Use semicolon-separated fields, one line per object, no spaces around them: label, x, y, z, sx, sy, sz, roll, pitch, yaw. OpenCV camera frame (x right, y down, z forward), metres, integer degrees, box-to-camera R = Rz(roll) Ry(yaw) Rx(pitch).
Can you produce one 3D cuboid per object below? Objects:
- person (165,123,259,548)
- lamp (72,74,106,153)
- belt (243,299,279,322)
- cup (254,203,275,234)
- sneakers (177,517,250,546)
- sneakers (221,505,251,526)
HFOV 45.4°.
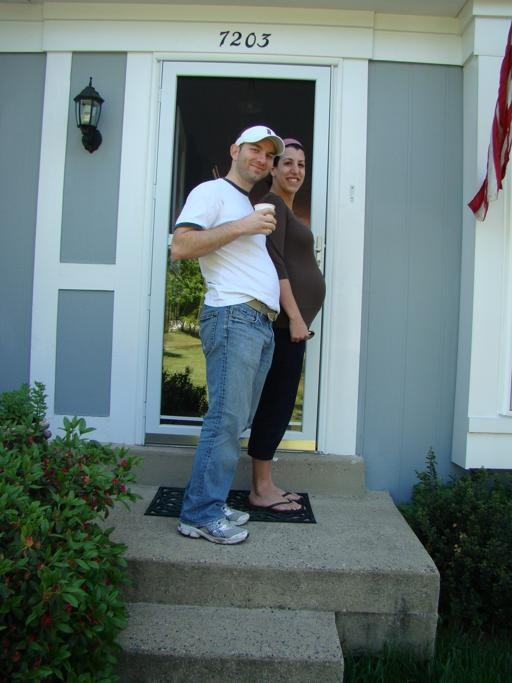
person;-0.121;-0.028;2.462;0.454;1.651;0.410;2;4;-9
lamp;-0.918;-1.253;3.354;0.158;0.415;0.206;1;4;-15
belt;0.032;-0.127;2.451;0.087;0.023;0.089;24;-4;39
cup;0.032;-0.467;2.363;0.076;0.116;0.152;2;4;0
sneakers;-0.165;0.739;2.455;0.264;0.123;0.102;2;-1;9
sneakers;-0.085;0.734;2.586;0.158;0.067;0.057;6;-1;13
